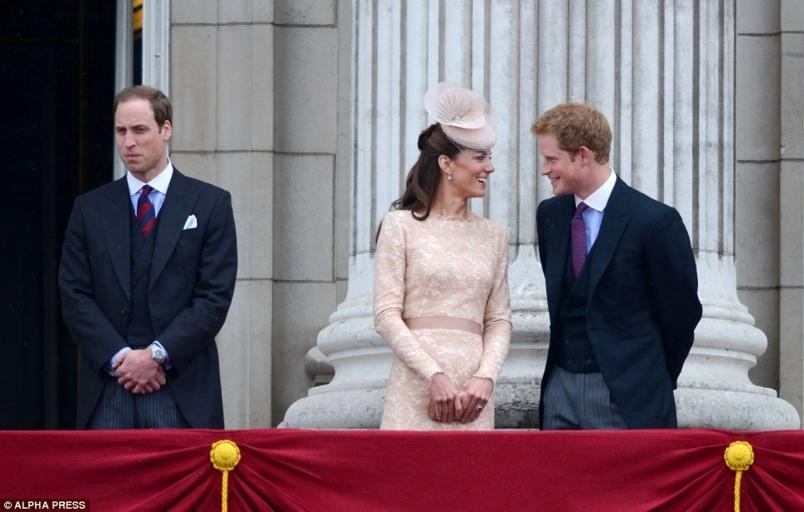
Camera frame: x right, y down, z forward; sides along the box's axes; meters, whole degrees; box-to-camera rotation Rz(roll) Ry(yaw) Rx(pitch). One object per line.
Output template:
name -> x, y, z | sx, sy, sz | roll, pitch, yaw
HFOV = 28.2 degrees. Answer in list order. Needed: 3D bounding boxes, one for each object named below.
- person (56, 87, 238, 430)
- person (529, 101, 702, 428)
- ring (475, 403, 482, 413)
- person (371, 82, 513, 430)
person -> -1.730, 0.015, 10.825 | 1.192, 2.285, 0.663 | 0, 6, -4
person -> 1.419, 0.082, 10.678 | 1.092, 2.124, 0.488 | 1, 6, 14
ring -> 0.510, 0.992, 10.512 | 0.052, 0.049, 0.016 | 4, 15, -31
person -> 0.272, 0.000, 10.700 | 0.876, 2.280, 0.691 | 1, 6, 11
